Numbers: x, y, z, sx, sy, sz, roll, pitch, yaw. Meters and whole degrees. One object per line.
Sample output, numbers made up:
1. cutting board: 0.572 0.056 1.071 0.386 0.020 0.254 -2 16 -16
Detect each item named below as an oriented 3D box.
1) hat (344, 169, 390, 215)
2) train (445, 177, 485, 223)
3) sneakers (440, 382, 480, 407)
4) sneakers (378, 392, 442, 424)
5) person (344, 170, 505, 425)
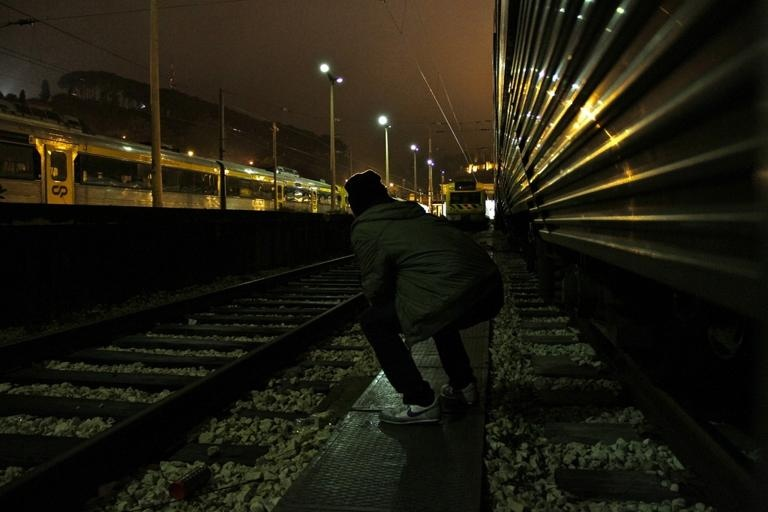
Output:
1. hat: -0.131 -0.454 4.539 0.322 0.320 0.254 -20 8 -1
2. train: 4.399 -3.097 33.782 2.080 2.681 5.614 1 6 11
3. sneakers: 0.575 1.048 4.630 0.270 0.131 0.139 3 1 18
4. sneakers: 0.191 1.117 4.482 0.444 0.194 0.170 -1 -9 8
5. person: 0.278 0.286 4.415 1.064 1.822 0.481 -2 3 -6
